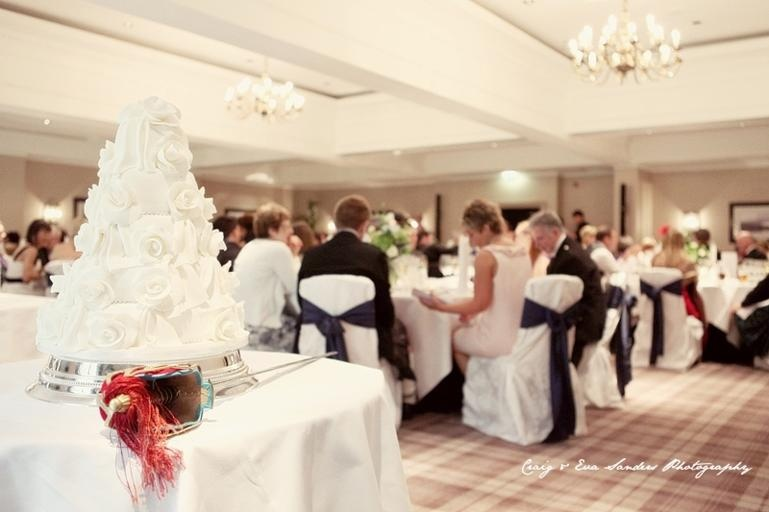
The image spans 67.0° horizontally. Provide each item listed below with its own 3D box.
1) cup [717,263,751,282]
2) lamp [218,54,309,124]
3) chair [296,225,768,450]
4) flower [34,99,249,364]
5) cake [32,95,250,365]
[{"bbox_3d":[4.623,0.240,7.689,0.266,0.264,0.494,-4,-3,20],"label":"cup"},{"bbox_3d":[-1.706,-2.103,7.761,0.624,0.596,0.592,-22,5,-41],"label":"lamp"},{"bbox_3d":[0.869,0.664,5.081,1.265,1.305,2.010,2,3,-45],"label":"chair"},{"bbox_3d":[-0.778,-0.088,2.240,0.798,0.865,0.830,0,2,41],"label":"flower"},{"bbox_3d":[-0.791,-0.099,2.227,0.802,0.872,0.829,0,2,35],"label":"cake"}]
